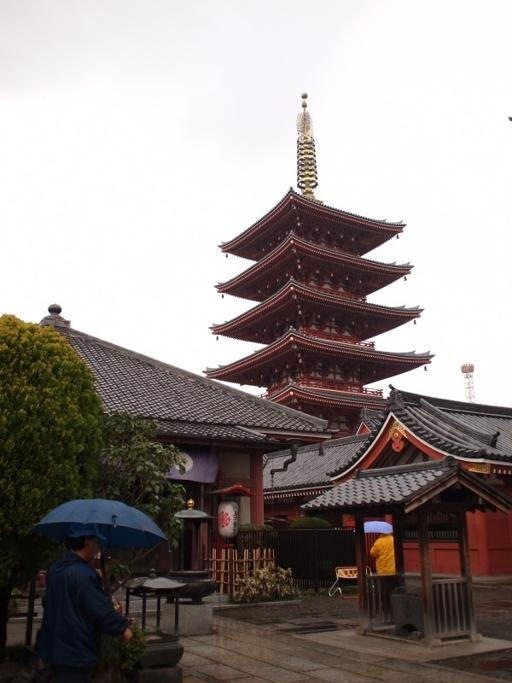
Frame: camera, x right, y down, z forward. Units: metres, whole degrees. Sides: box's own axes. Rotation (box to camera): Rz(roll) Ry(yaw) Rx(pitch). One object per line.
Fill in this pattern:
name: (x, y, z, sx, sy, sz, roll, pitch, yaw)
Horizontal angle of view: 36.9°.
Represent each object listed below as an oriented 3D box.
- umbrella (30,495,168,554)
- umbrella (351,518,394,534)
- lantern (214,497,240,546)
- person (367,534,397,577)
umbrella: (-1.389, 1.766, 7.236, 1.011, 0.300, 0.981, 19, -26, -22)
umbrella: (2.535, 3.831, 15.871, 0.495, 0.330, 1.037, -6, -21, 12)
lantern: (-0.553, 3.478, 15.147, 0.373, 0.715, 0.329, -3, -22, 3)
person: (1.961, 3.289, 11.863, 0.359, 0.695, 1.255, -4, -21, 7)
